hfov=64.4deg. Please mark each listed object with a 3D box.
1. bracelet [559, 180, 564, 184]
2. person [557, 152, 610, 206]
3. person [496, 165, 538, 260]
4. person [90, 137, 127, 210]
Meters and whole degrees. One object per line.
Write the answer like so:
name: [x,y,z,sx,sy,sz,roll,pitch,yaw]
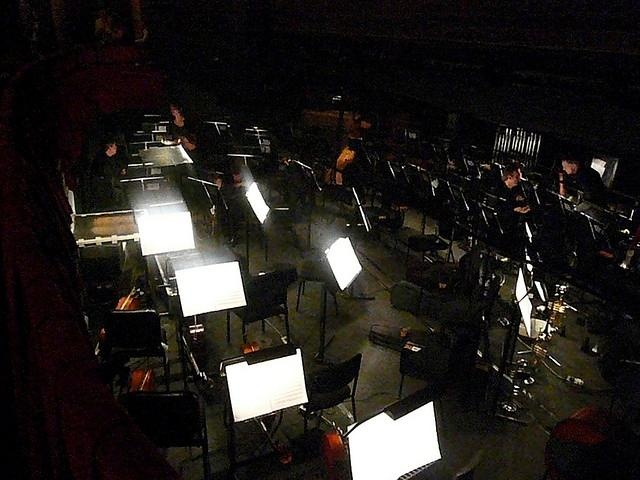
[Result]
bracelet: [3.785,-0.908,7.900,0.060,0.060,0.828,2,9,26]
person: [4.226,-0.971,8.086,0.791,0.408,1.013,16,21,-50]
person: [2.858,-0.394,7.371,0.541,0.947,1.402,-3,47,10]
person: [-4.596,-1.403,10.911,0.767,0.650,1.742,-2,-24,-20]
